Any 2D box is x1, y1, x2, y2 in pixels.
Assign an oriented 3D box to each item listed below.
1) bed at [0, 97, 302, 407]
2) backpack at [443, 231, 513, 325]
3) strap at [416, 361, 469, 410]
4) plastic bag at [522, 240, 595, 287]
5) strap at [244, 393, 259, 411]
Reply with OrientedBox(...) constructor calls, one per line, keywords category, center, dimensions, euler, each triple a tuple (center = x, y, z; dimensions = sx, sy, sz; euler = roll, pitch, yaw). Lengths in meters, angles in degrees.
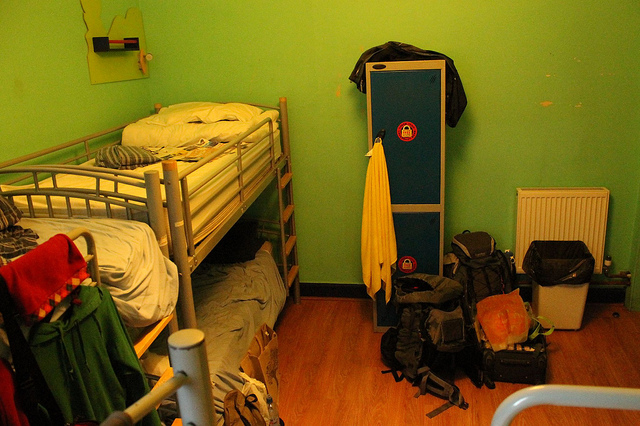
OrientedBox(category="bed", center=(-0.916, 0.188, 3.229), dimensions=(1.184, 1.729, 1.928), euler=(2, 19, 9))
OrientedBox(category="backpack", center=(1.156, 0.435, 3.518), dimensions=(0.419, 0.652, 0.456), euler=(0, 11, 3))
OrientedBox(category="strap", center=(0.811, 1.150, 3.186), dimensions=(0.273, 0.130, 0.206), euler=(31, 13, 25))
OrientedBox(category="plastic bag", center=(1.788, 0.380, 3.629), dimensions=(0.472, 0.269, 0.304), euler=(3, 19, 11))
OrientedBox(category="strap", center=(-0.364, 0.997, 2.544), dimensions=(0.054, 0.071, 0.062), euler=(-10, 38, -8))
